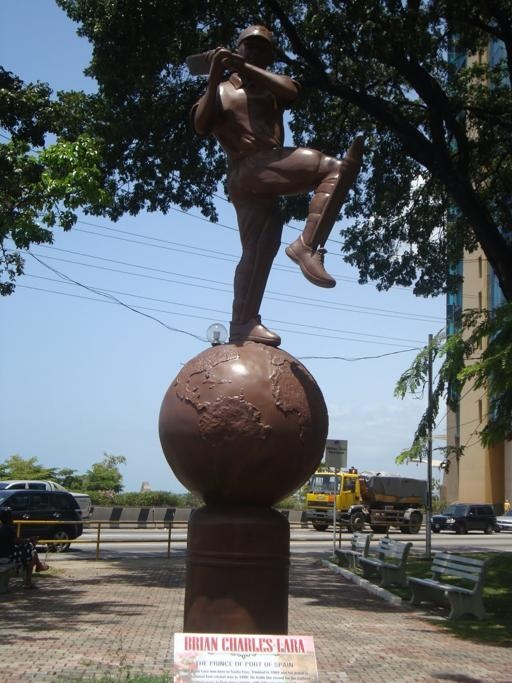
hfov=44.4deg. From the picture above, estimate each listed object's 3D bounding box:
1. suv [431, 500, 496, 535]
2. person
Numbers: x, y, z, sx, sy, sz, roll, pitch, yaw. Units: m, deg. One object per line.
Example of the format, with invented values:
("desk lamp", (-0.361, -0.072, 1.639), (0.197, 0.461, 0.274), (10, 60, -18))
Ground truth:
("suv", (11.393, 9.723, 34.277), (3.362, 1.416, 1.963), (14, -22, -31))
("person", (0.065, -0.977, 4.107), (0.761, 2.018, 1.076), (5, -9, -22))
